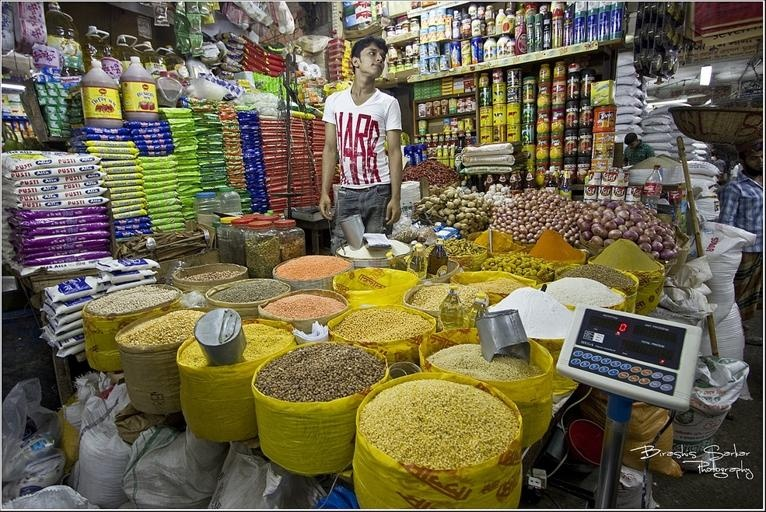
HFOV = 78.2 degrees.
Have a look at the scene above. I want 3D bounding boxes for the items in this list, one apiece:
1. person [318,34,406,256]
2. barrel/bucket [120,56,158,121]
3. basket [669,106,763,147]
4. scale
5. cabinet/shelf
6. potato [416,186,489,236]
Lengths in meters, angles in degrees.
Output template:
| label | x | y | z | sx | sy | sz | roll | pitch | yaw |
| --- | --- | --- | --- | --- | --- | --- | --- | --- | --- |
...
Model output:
| label | x | y | z | sx | sy | sz | roll | pitch | yaw |
| --- | --- | --- | --- | --- | --- | --- | --- | --- | --- |
| person | -0.222 | -0.963 | 3.886 | 0.718 | 1.517 | 0.431 | 1 | 18 | 16 |
| barrel/bucket | -1.907 | -1.299 | 3.698 | 0.294 | 0.484 | 0.175 | -16 | 21 | -36 |
| basket | 2.631 | -1.036 | 3.750 | 0.617 | 0.317 | 0.466 | 7 | 18 | 32 |
| scale | 1.058 | 0.693 | 2.106 | 0.507 | 0.898 | 0.311 | 7 | 20 | 30 |
| cabinet/shelf | -0.520 | -0.926 | 4.078 | 3.962 | 1.029 | 1.100 | -10 | -5 | 3 |
| potato | 0.672 | -0.427 | 4.388 | 0.525 | 0.282 | 0.552 | 0 | 14 | -15 |
